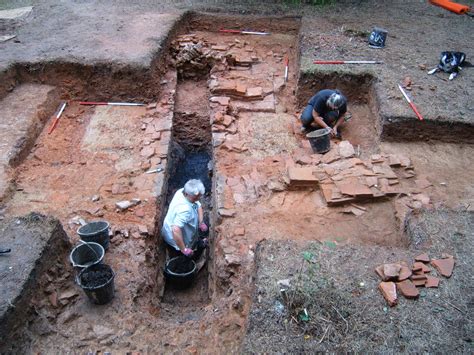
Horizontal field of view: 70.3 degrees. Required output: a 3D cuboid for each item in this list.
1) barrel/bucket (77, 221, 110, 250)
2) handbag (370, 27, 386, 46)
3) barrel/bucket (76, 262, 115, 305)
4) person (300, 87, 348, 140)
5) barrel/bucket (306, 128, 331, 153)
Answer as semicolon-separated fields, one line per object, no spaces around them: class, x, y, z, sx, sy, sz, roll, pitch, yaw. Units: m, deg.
barrel/bucket;-2.037;0.784;4.843;0.407;0.330;0.437;1;25;0
handbag;3.079;-3.067;7.373;0.299;0.341;0.313;-22;55;-7
barrel/bucket;-1.829;1.352;4.458;0.473;0.375;0.490;0;40;0
person;1.664;-1.254;6.407;0.804;1.107;1.014;-3;73;6
barrel/bucket;1.507;-0.675;6.020;0.421;0.321;0.426;-11;39;9
